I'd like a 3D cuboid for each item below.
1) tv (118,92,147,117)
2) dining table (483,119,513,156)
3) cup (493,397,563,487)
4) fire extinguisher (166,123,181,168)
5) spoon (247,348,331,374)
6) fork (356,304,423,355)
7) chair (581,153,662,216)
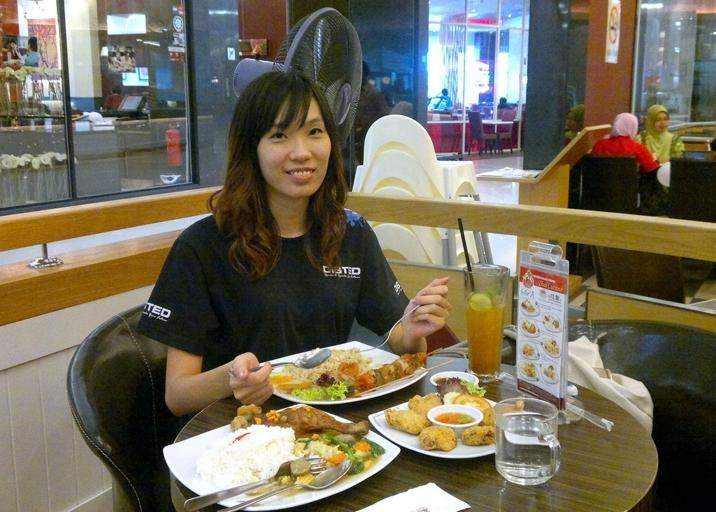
[{"bbox_3d":[-1.917,-1.278,4.491,0.190,0.139,0.193,11,14,23],"label":"tv"},{"bbox_3d":[3.744,-3.284,13.872,0.763,1.004,0.796,-11,15,-34],"label":"dining table"},{"bbox_3d":[0.307,0.346,1.021,0.102,0.164,0.167,0,3,-3],"label":"cup"},{"bbox_3d":[-1.680,-0.998,4.818,0.124,0.329,0.129,-5,25,-22],"label":"fire extinguisher"},{"bbox_3d":[-0.180,0.270,1.380,0.226,0.032,0.052,-13,20,-39],"label":"spoon"},{"bbox_3d":[0.112,0.254,1.678,0.246,0.083,0.018,-42,49,-2],"label":"fork"},{"bbox_3d":[2.998,-0.797,5.945,0.889,0.699,0.529,-8,13,-27],"label":"chair"}]
